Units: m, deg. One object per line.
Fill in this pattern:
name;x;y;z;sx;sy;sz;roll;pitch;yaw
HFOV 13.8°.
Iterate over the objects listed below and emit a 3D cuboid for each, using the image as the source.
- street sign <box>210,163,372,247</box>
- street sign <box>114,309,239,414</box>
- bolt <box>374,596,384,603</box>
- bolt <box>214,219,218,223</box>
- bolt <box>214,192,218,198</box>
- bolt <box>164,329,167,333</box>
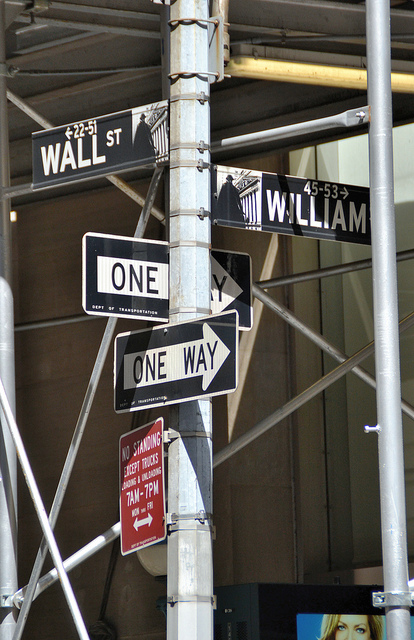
street sign;0.484;-0.686;10.134;1.319;0.440;0.163;9;-15;-38
street sign;-0.191;0.224;9.277;0.905;0.482;0.094;-14;-16;36
bolt;0.888;1.407;8.730;0.047;0.032;0.017;-7;-13;15
bolt;0.046;-0.565;9.738;0.006;0.021;0.034;-8;-15;31
bolt;0.044;-0.715;9.748;0.017;0.027;0.005;2;-3;8
bolt;-0.233;0.049;9.293;0.014;0.020;0.004;-2;-4;15
